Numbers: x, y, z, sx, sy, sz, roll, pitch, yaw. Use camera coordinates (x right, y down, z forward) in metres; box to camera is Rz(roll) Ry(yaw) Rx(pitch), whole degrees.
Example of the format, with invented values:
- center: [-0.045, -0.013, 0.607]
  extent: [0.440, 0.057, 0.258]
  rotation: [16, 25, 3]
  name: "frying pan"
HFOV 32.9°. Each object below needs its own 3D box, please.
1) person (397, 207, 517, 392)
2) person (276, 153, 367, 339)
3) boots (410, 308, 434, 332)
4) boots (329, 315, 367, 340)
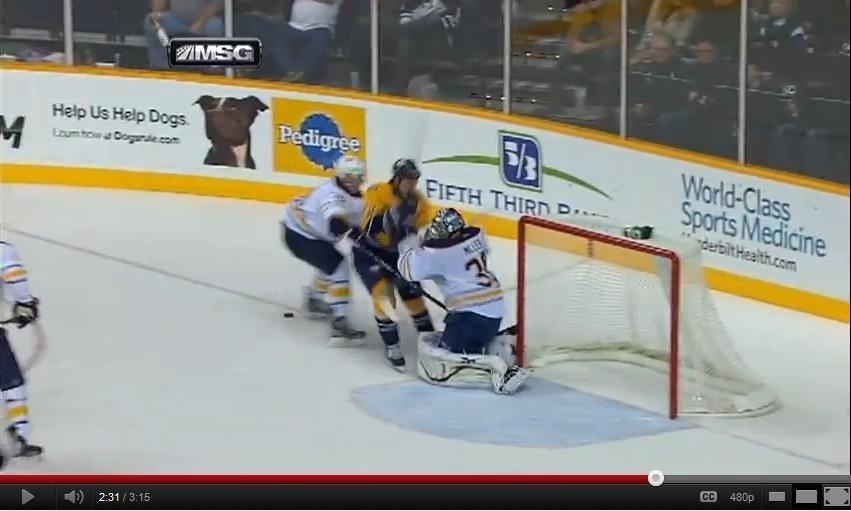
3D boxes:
- center: [0.269, 0.339, 11.395]
  extent: [1.059, 1.399, 0.410]
  rotation: [4, 12, -1]
  name: "person"
- center: [-0.863, -0.100, 12.106]
  extent: [0.690, 1.468, 0.801]
  rotation: [1, 1, -18]
  name: "person"
- center: [-0.053, 0.523, 11.812]
  extent: [0.150, 0.194, 0.149]
  rotation: [-8, 19, 41]
  name: "boots"
- center: [-0.665, 0.591, 11.858]
  extent: [0.298, 0.159, 0.161]
  rotation: [0, 10, -11]
  name: "boots"
